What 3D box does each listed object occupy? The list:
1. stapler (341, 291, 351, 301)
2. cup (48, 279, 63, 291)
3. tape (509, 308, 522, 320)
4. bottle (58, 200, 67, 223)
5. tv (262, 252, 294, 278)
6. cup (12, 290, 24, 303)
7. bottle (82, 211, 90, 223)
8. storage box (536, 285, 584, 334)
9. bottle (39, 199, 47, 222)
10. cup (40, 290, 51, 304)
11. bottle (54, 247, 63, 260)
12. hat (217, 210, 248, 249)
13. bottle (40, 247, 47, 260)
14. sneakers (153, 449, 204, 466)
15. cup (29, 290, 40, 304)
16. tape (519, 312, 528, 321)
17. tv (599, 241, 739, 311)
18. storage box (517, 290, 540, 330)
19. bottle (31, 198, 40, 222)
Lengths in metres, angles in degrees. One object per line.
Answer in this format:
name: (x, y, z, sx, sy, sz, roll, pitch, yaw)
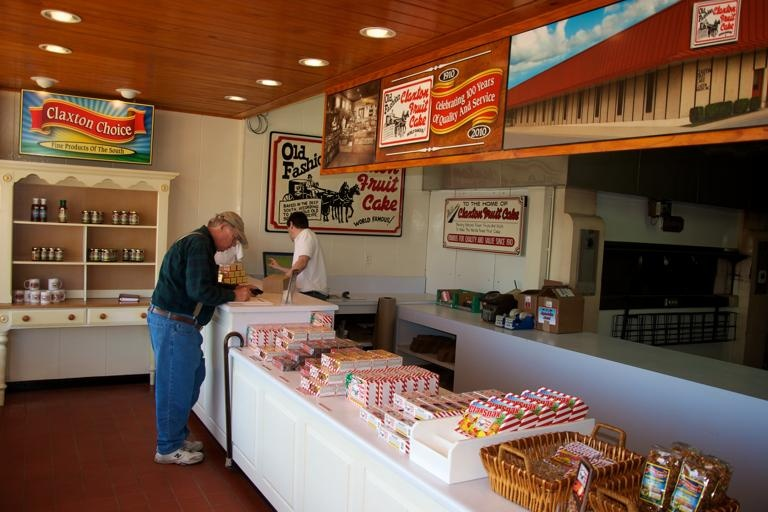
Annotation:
stapler: (-0.474, 0.530, 6.888, 0.106, 0.098, 0.079, 7, -6, -42)
cup: (-3.709, 0.326, 5.966, 0.105, 0.140, 0.161, 1, 1, 23)
tape: (1.369, 0.620, 5.495, 0.076, 0.089, 0.103, 7, -6, -32)
bottle: (-3.660, -0.526, 6.027, 0.106, 0.255, 0.255, -8, 14, -29)
tv: (-1.364, 0.123, 6.732, 0.364, 0.321, 0.037, 1, -6, -18)
cup: (-4.039, 0.456, 5.849, 0.116, 0.139, 0.144, -1, 0, -28)
bottle: (-3.462, -0.467, 6.135, 0.083, 0.150, 0.212, -9, 14, -33)
storage box: (1.858, 0.563, 5.561, 0.458, 0.424, 0.377, 1, 3, -42)
bottle: (-3.834, -0.533, 5.953, 0.063, 0.255, 0.261, -6, 13, -21)
cup: (-3.721, 0.466, 5.807, 0.089, 0.134, 0.142, -3, 12, -8)
bottle: (-3.693, -0.012, 6.003, 0.115, 0.175, 0.115, 1, -3, 0)
hat: (-1.303, -0.275, 4.724, 0.369, 0.187, 0.251, 40, -9, -24)
bottle: (-3.811, -0.021, 5.950, 0.086, 0.129, 0.086, -1, 12, 0)
sneakers: (-1.765, 1.775, 4.629, 0.433, 0.183, 0.152, 0, 2, -8)
cup: (-3.815, 0.454, 5.780, 0.136, 0.146, 0.135, 2, -4, 0)
tape: (1.449, 0.636, 5.480, 0.096, 0.058, 0.050, 22, -11, -20)
tv: (3.619, 0.292, 7.019, 2.088, 0.719, 0.385, 2, -3, -16)
storage box: (1.471, 0.565, 5.689, 0.274, 0.384, 0.260, 3, -9, 44)
bottle: (-3.888, -0.531, 5.908, 0.108, 0.250, 0.223, -8, 14, -31)
